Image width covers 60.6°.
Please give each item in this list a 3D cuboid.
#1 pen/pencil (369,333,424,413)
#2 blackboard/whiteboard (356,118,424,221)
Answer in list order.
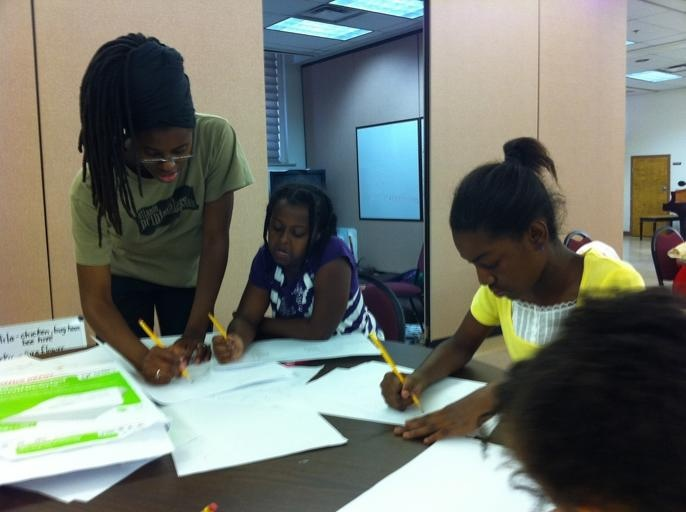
[{"bbox_3d":[0.123,0.280,1.380,0.016,0.159,0.016,-39,-22,24],"label":"pen/pencil"},{"bbox_3d":[0.439,-0.793,5.227,0.039,1.121,0.905,-8,7,-43],"label":"blackboard/whiteboard"}]
